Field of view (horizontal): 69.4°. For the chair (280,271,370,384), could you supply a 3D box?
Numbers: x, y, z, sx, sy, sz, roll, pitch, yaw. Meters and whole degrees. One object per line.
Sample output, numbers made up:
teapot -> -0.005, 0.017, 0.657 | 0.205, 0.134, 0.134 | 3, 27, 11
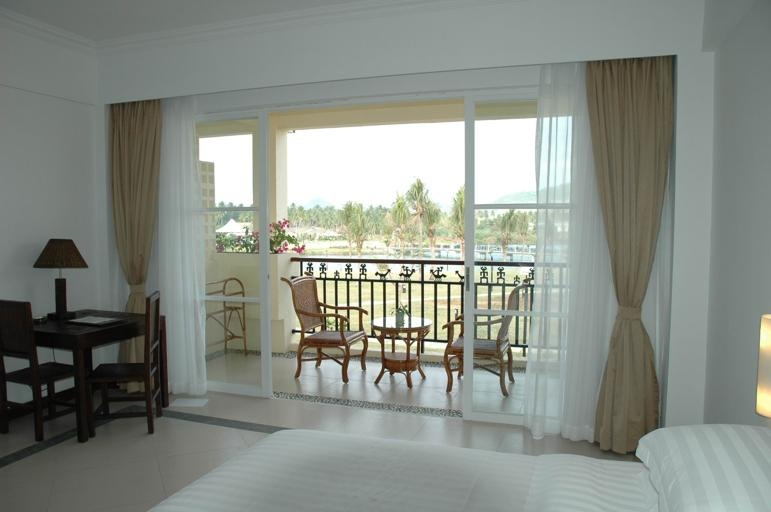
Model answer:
chair -> -0.694, 0.835, 6.865 | 1.143, 1.596, 1.012 | 0, 2, 22

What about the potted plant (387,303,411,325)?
potted plant -> 0.177, 0.656, 6.289 | 0.194, 0.184, 0.411 | 1, 12, 6

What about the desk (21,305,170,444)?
desk -> -2.701, 1.034, 5.406 | 1.044, 1.024, 1.156 | 2, 4, 20

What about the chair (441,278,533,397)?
chair -> 1.140, 0.787, 5.991 | 1.002, 1.534, 0.928 | 2, 0, 16

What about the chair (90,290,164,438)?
chair -> -2.475, 1.009, 5.279 | 0.780, 1.177, 0.786 | 4, 5, 43

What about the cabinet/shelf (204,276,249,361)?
cabinet/shelf -> -1.673, 0.646, 5.903 | 0.311, 0.902, 0.855 | 1, -1, 8
